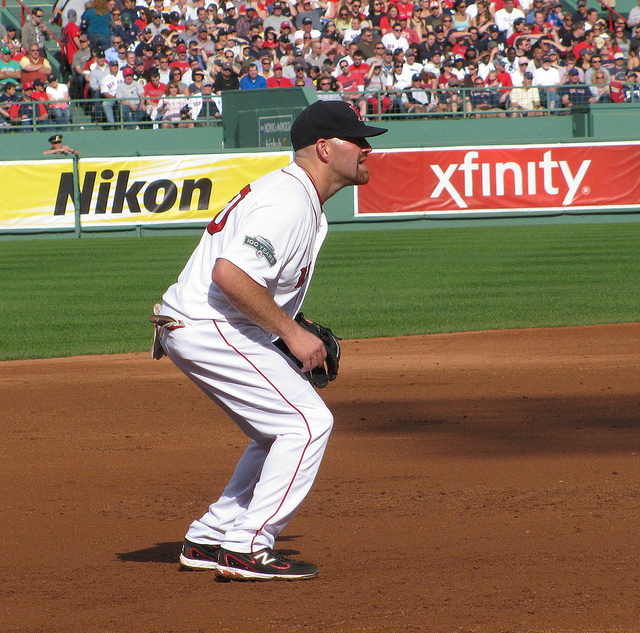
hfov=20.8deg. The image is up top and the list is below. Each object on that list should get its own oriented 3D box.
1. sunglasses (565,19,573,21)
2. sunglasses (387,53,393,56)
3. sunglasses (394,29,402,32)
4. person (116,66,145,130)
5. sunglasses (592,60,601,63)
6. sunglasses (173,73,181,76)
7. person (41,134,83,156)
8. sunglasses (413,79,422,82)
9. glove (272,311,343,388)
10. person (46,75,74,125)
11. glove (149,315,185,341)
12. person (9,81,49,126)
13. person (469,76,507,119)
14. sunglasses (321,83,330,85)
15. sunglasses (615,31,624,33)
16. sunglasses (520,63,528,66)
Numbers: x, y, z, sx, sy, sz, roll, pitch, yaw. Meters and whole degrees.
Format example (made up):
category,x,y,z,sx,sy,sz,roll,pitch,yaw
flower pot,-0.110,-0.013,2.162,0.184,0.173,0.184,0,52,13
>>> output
category,x,y,z,sx,sy,sz,roll,pitch,yaw
sunglasses,4.583,-5.407,31.905,0.031,0.028,0.241,8,14,39
sunglasses,1.212,-4.494,30.009,0.083,0.043,0.058,2,11,14
sunglasses,1.385,-4.966,30.397,0.073,0.046,0.147,8,14,39
person,-3.239,-3.670,29.576,0.480,1.085,0.845,-2,11,-6
sunglasses,4.869,-4.425,30.354,0.111,0.049,0.257,6,13,33
sunglasses,-2.419,-4.092,29.590,0.069,0.037,0.183,4,12,27
person,-4.303,-2.813,28.662,0.513,0.358,0.728,-15,21,-42
sunglasses,1.680,-4.036,29.934,0.068,0.048,0.108,3,-6,-12
glove,-0.012,0.255,12.962,0.584,0.439,0.280,42,12,4
person,-4.462,-3.685,29.710,0.447,0.810,1.125,-3,11,-8
glove,-1.130,0.078,12.790,0.207,0.108,0.170,-11,-12,8
person,-4.957,-3.569,29.410,0.448,0.704,0.565,4,12,26
person,2.900,-3.730,30.041,0.631,0.736,1.049,1,11,9
sunglasses,0.107,-3.915,29.469,0.052,0.027,0.146,8,14,42
sunglasses,5.477,-5.172,31.799,0.135,0.023,0.112,1,11,10
sunglasses,3.568,-4.374,30.378,0.169,0.049,0.032,-8,13,-33
